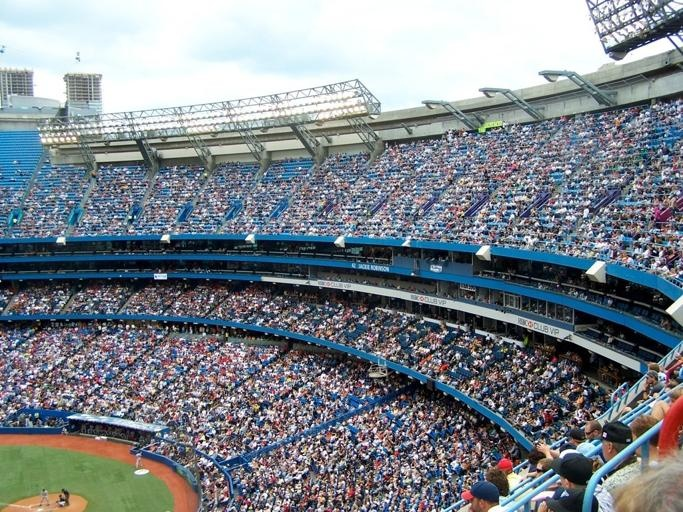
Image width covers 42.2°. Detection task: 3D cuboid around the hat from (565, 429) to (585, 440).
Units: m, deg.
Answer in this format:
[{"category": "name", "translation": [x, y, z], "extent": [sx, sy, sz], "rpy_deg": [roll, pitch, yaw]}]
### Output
[{"category": "hat", "translation": [11.077, 8.546, 41.802], "extent": [0.705, 0.728, 0.431], "rpy_deg": [0, 13, 14]}]
